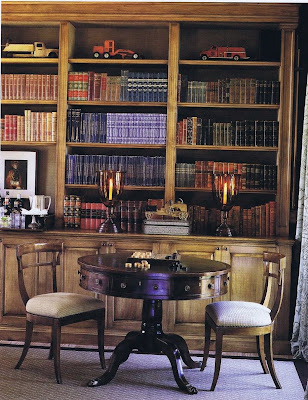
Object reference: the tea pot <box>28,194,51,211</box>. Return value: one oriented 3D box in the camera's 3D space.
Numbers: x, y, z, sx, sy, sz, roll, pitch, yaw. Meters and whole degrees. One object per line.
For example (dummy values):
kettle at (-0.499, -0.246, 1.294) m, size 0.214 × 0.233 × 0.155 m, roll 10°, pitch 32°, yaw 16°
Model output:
tea pot at (-1.015, 0.018, 4.171) m, size 0.221 × 0.176 × 0.128 m, roll 1°, pitch -2°, yaw -6°

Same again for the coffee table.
coffee table at (-0.011, 0.794, 3.156) m, size 0.989 × 0.852 × 0.712 m, roll 2°, pitch 2°, yaw -9°

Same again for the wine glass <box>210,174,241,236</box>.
wine glass at (0.586, 0.032, 3.998) m, size 0.213 × 0.505 × 0.194 m, roll 4°, pitch 4°, yaw 43°

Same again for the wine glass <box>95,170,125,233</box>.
wine glass at (-0.368, 0.013, 4.020) m, size 0.219 × 0.510 × 0.169 m, roll 2°, pitch 2°, yaw -6°

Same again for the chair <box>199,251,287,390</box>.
chair at (0.598, 0.762, 3.415) m, size 0.574 × 0.872 × 0.589 m, roll 2°, pitch 1°, yaw -29°

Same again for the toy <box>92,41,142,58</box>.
toy at (-0.301, -1.315, 4.271) m, size 0.467 × 0.189 × 0.181 m, roll -1°, pitch 19°, yaw -1°

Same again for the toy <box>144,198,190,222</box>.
toy at (0.113, 0.079, 4.071) m, size 0.363 × 0.170 × 0.304 m, roll 2°, pitch 2°, yaw 4°

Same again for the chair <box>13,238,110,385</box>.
chair at (-0.671, 0.722, 3.443) m, size 0.629 × 0.910 × 0.549 m, roll -1°, pitch 0°, yaw 17°
